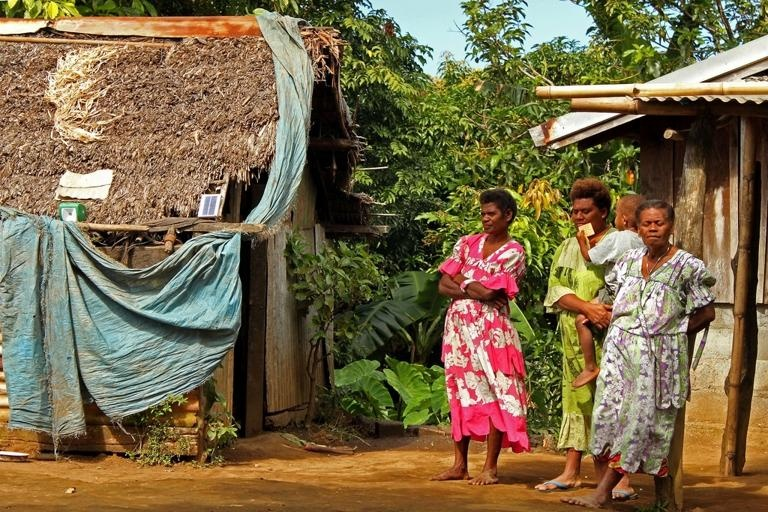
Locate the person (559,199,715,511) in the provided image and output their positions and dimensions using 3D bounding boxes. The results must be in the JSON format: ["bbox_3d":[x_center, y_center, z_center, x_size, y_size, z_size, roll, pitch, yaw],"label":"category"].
[{"bbox_3d":[2.308,0.874,8.299,1.131,2.663,0.584,-1,-7,13],"label":"person"}]

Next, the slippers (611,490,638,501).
[{"bbox_3d":[2.213,2.210,8.743,0.260,0.085,0.099,1,4,-37],"label":"slippers"}]

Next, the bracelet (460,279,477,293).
[{"bbox_3d":[0.789,0.274,9.050,0.153,0.099,0.140,-35,-23,21],"label":"bracelet"}]

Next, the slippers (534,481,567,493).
[{"bbox_3d":[1.566,2.168,8.900,0.294,0.057,0.104,3,-4,-9],"label":"slippers"}]

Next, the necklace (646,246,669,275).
[{"bbox_3d":[2.374,0.034,8.266,0.197,0.227,0.068,12,9,28],"label":"necklace"}]

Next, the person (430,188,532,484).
[{"bbox_3d":[0.963,0.760,9.140,0.859,2.824,0.481,-1,-7,13],"label":"person"}]
